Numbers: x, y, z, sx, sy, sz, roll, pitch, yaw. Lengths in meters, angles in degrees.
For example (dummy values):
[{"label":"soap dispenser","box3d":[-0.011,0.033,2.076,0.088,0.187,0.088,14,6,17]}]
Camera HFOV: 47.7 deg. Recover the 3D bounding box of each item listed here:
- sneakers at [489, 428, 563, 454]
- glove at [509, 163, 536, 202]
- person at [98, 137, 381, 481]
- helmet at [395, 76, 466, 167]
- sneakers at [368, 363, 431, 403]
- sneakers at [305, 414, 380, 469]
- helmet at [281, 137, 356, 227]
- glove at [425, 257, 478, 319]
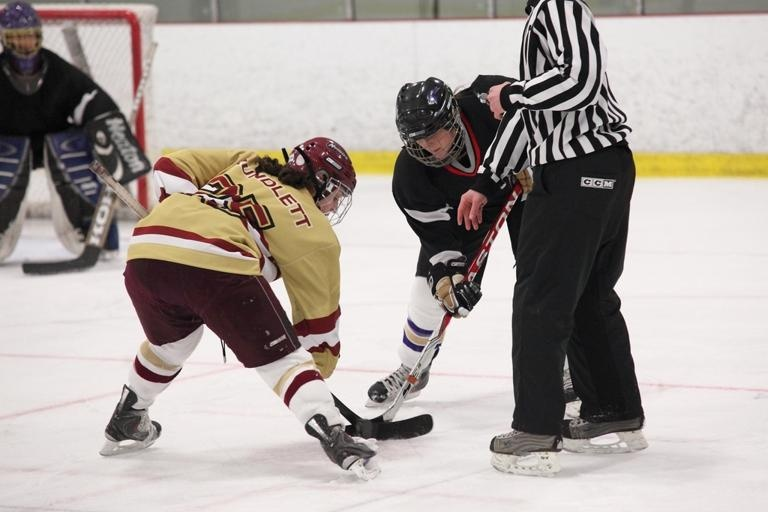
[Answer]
[{"label":"sneakers","box3d":[0.497,0.648,3.104,0.274,0.098,0.085,1,-2,12]},{"label":"glove","box3d":[0.577,-0.298,3.505,0.108,0.133,0.146,19,15,32]},{"label":"person","box3d":[-0.454,0.154,3.224,1.019,1.144,0.594,4,17,14]},{"label":"helmet","box3d":[0.185,-0.552,3.482,0.301,0.313,0.319,-16,35,10]},{"label":"sneakers","box3d":[0.073,0.551,3.739,0.224,0.064,0.180,-8,-23,-35]},{"label":"sneakers","box3d":[-0.151,0.662,3.087,0.168,0.074,0.219,11,15,-43]},{"label":"helmet","box3d":[-0.254,-0.311,3.341,0.300,0.273,0.239,21,0,-19]},{"label":"glove","box3d":[0.260,0.125,3.452,0.122,0.182,0.245,5,38,-34]}]
